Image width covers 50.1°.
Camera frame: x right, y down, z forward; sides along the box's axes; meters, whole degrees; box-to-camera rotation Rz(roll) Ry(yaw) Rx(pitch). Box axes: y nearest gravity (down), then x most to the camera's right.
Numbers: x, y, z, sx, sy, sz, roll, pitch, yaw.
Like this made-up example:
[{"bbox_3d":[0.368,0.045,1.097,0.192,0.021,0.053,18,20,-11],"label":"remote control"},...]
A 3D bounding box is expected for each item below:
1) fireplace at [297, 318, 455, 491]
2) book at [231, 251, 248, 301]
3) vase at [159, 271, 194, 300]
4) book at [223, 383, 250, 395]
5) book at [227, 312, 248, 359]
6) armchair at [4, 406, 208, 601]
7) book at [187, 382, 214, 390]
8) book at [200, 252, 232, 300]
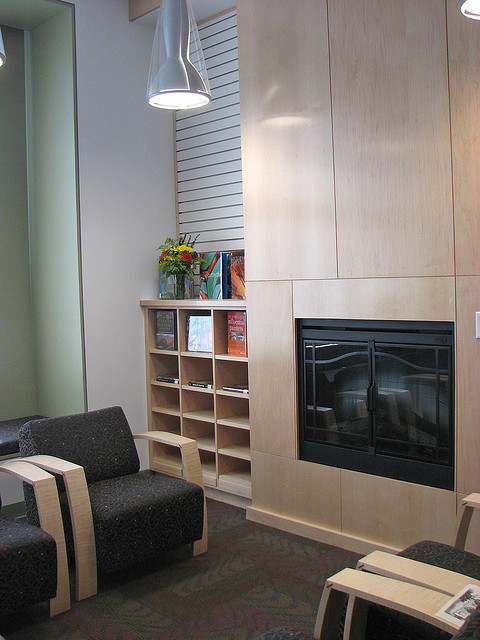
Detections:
[{"bbox_3d":[0.687,0.371,2.521,0.790,0.758,0.303,2,-1,34],"label":"fireplace"},{"bbox_3d":[-0.005,-0.295,3.395,0.081,0.337,0.303,-2,-2,-10],"label":"book"},{"bbox_3d":[-0.485,-0.248,3.877,0.267,0.205,0.288,-2,-1,-5],"label":"vase"},{"bbox_3d":[-0.031,0.454,3.353,0.095,0.023,0.102,4,5,28],"label":"book"},{"bbox_3d":[-0.021,0.093,3.325,0.043,0.286,0.185,-1,-2,-34],"label":"book"},{"bbox_3d":[-0.666,0.777,2.579,0.794,0.735,0.765,-3,2,-42],"label":"armchair"},{"bbox_3d":[-0.274,0.459,3.562,0.048,0.035,0.270,-1,-2,-41],"label":"book"},{"bbox_3d":[-0.169,-0.308,3.603,0.083,0.330,0.316,-1,-2,-40],"label":"book"}]
